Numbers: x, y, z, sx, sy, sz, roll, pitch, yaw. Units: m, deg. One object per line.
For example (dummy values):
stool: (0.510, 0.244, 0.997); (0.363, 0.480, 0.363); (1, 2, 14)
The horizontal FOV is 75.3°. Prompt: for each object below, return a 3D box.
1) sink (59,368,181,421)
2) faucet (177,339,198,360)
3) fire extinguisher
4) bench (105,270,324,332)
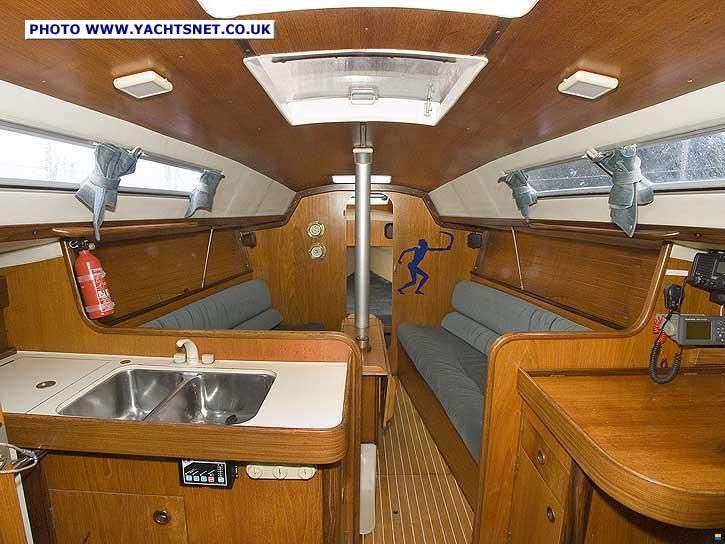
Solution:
sink: (-1.434, 0.668, 2.705); (0.529, 0.233, 0.656); (-9, -20, 25)
faucet: (-0.996, 0.436, 2.676); (0.125, 0.124, 0.129); (2, 0, -21)
fire extinguisher: (-1.594, 0.048, 2.758); (0.231, 0.472, 0.101); (2, 1, -28)
bench: (-1.157, 0.319, 4.124); (0.557, 0.519, 2.170); (2, -1, 9)
